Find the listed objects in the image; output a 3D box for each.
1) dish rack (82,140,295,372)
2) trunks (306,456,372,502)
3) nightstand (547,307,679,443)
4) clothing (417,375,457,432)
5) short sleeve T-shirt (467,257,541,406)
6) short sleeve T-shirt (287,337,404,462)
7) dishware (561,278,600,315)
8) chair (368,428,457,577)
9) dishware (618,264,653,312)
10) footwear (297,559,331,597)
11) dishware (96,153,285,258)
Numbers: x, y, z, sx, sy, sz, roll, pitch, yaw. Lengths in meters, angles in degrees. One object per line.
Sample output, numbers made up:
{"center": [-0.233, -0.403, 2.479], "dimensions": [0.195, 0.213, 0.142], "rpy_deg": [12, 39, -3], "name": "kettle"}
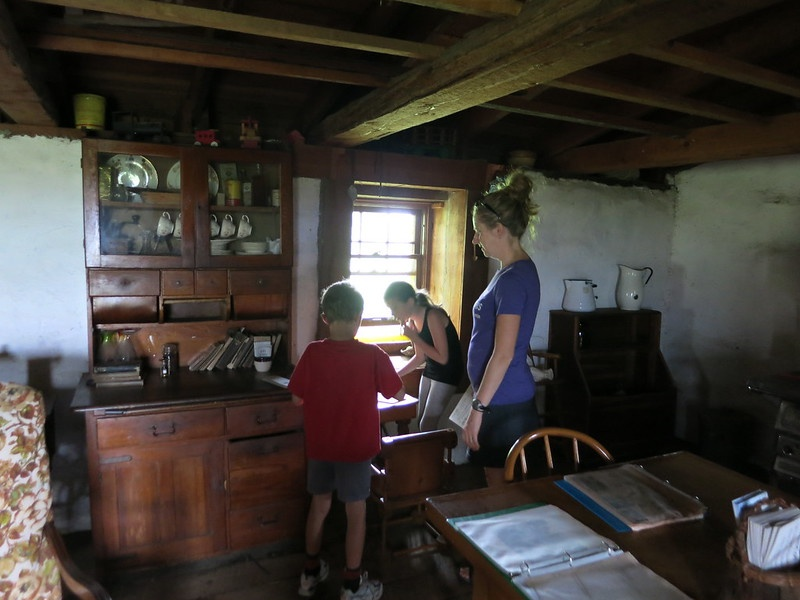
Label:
{"center": [-1.282, -0.248, 3.698], "dimensions": [1.177, 1.342, 0.380], "rpy_deg": [-1, 11, -20], "name": "dish rack"}
{"center": [-0.334, 0.900, 3.050], "dimensions": [0.290, 0.220, 0.150], "rpy_deg": [0, 8, 0], "name": "trunks"}
{"center": [1.810, 0.632, 4.900], "dimensions": [0.806, 0.930, 0.514], "rpy_deg": [-2, 8, -2], "name": "nightstand"}
{"center": [0.180, 0.674, 3.959], "dimensions": [0.142, 0.407, 0.101], "rpy_deg": [12, -1, 32], "name": "clothing"}
{"center": [0.498, 0.154, 2.867], "dimensions": [0.342, 0.699, 0.228], "rpy_deg": [-1, 6, 8], "name": "short sleeve T-shirt"}
{"center": [-0.294, 0.535, 3.049], "dimensions": [0.756, 0.685, 0.374], "rpy_deg": [1, 9, 6], "name": "short sleeve T-shirt"}
{"center": [1.419, -0.034, 4.747], "dimensions": [0.295, 0.254, 0.226], "rpy_deg": [0, 2, 4], "name": "dishware"}
{"center": [0.020, 1.080, 3.363], "dimensions": [0.550, 0.699, 0.544], "rpy_deg": [-1, 2, -3], "name": "chair"}
{"center": [1.935, -0.103, 4.947], "dimensions": [0.224, 0.379, 0.166], "rpy_deg": [-1, 6, 0], "name": "dishware"}
{"center": [-0.459, 1.495, 3.231], "dimensions": [0.097, 0.100, 0.225], "rpy_deg": [4, 15, 15], "name": "footwear"}
{"center": [-1.254, -0.562, 3.591], "dimensions": [1.052, 0.610, 0.213], "rpy_deg": [-3, 6, -23], "name": "dishware"}
